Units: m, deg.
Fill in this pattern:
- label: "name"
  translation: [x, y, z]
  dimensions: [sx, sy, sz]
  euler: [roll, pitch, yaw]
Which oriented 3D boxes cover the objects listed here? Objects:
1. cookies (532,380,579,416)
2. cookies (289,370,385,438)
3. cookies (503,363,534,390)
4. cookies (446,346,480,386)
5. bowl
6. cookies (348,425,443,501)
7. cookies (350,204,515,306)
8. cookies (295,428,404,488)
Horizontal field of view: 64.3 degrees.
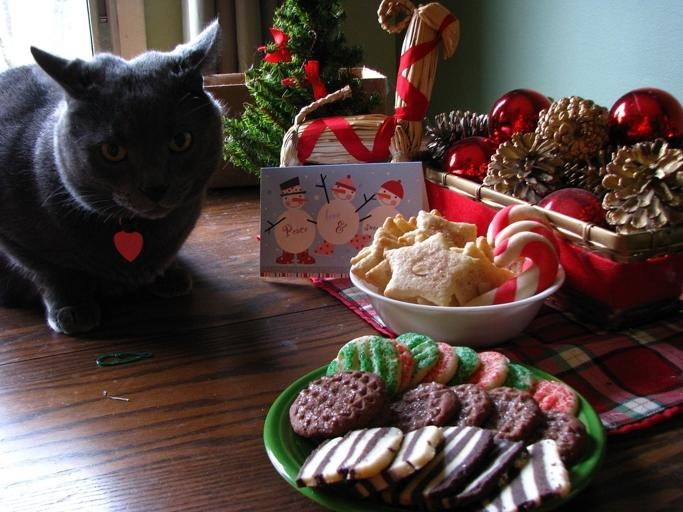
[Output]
- label: "cookies"
  translation: [0.242, 0.159, 0.617]
  dimensions: [0.036, 0.008, 0.034]
  euler: [11, 27, 28]
- label: "cookies"
  translation: [-0.003, 0.165, 0.607]
  dimensions: [0.113, 0.022, 0.108]
  euler: [-6, 23, 39]
- label: "cookies"
  translation: [0.213, 0.144, 0.645]
  dimensions: [0.027, 0.007, 0.028]
  euler: [0, 17, 9]
- label: "cookies"
  translation: [0.147, 0.133, 0.661]
  dimensions: [0.040, 0.008, 0.037]
  euler: [-23, 23, -19]
- label: "bowl"
  translation: [0.167, 0.074, 0.841]
  dimensions: [0.342, 0.085, 0.311]
  euler: [5, 9, 28]
- label: "cookies"
  translation: [0.050, 0.188, 0.527]
  dimensions: [0.075, 0.018, 0.070]
  euler: [-23, 4, -12]
- label: "cookies"
  translation: [0.121, 0.008, 0.753]
  dimensions: [0.164, 0.054, 0.170]
  euler: [-24, 31, -26]
- label: "cookies"
  translation: [0.010, 0.192, 0.525]
  dimensions: [0.070, 0.015, 0.068]
  euler: [-11, 11, 31]
